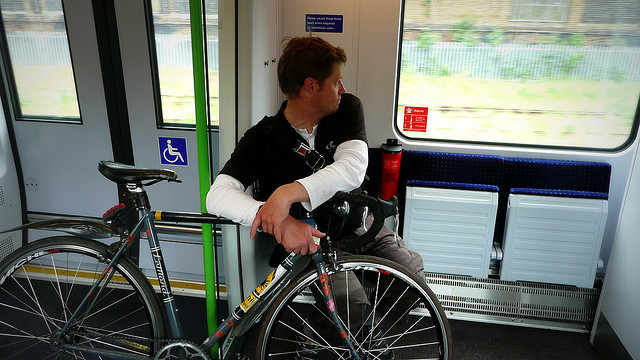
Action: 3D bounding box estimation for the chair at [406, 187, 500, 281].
[{"bbox_3d":[1.491,0.569,4.915,1.121,0.943,0.526,2,18,5],"label":"chair"}]

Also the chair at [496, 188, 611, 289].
[{"bbox_3d":[2.900,0.756,5.057,0.629,1.037,1.171,13,-7,-25],"label":"chair"}]

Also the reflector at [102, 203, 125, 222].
[{"bbox_3d":[-1.894,0.310,4.079,0.192,0.069,0.162,-38,12,0],"label":"reflector"}]

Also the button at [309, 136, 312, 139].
[{"bbox_3d":[-0.090,-0.390,4.008,0.024,0.022,0.010,-6,20,-24],"label":"button"}]

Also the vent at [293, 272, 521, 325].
[{"bbox_3d":[1.516,1.418,5.678,0.370,0.484,2.622,27,-21,-29],"label":"vent"}]
